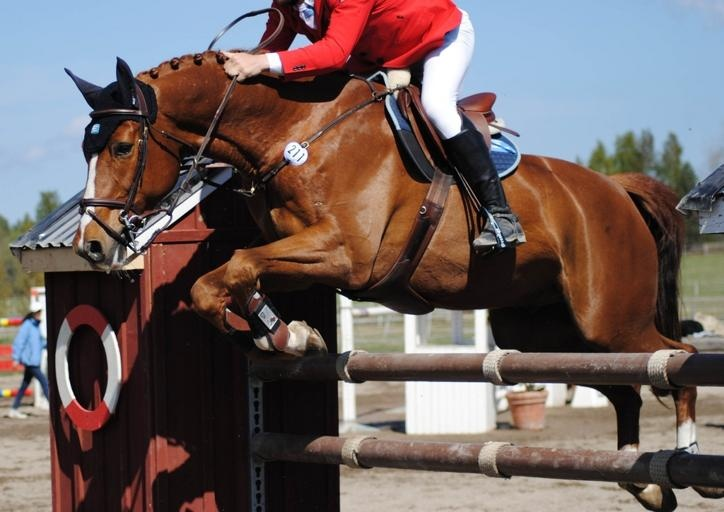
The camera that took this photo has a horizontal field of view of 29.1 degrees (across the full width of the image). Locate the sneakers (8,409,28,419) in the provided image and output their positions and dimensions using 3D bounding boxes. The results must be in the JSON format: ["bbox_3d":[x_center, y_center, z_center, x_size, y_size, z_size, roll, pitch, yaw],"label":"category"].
[{"bbox_3d":[-3.890,1.753,15.579,0.263,0.109,0.103,2,5,13],"label":"sneakers"}]

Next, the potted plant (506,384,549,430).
[{"bbox_3d":[1.710,1.534,14.023,0.452,0.361,0.457,-8,-4,41],"label":"potted plant"}]
